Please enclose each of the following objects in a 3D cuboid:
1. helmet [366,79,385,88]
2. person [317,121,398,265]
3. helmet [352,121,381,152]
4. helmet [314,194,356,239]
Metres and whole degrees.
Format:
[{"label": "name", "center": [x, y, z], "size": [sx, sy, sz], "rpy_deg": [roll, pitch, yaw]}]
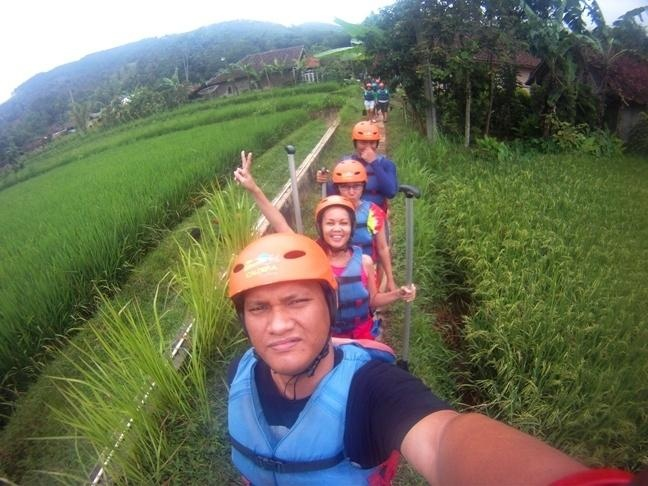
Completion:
[{"label": "helmet", "center": [1.924, -5.872, 17.438], "size": [0.426, 0.267, 0.657], "rpy_deg": [7, 23, -18]}, {"label": "person", "center": [0.537, -0.723, 7.077], "size": [0.806, 2.096, 0.632], "rpy_deg": [9, 19, 24]}, {"label": "helmet", "center": [0.622, -1.561, 6.906], "size": [0.355, 0.432, 0.543], "rpy_deg": [-1, 44, -2]}, {"label": "helmet", "center": [0.135, -0.340, 5.496], "size": [0.344, 0.498, 0.500], "rpy_deg": [2, 66, -1]}]
